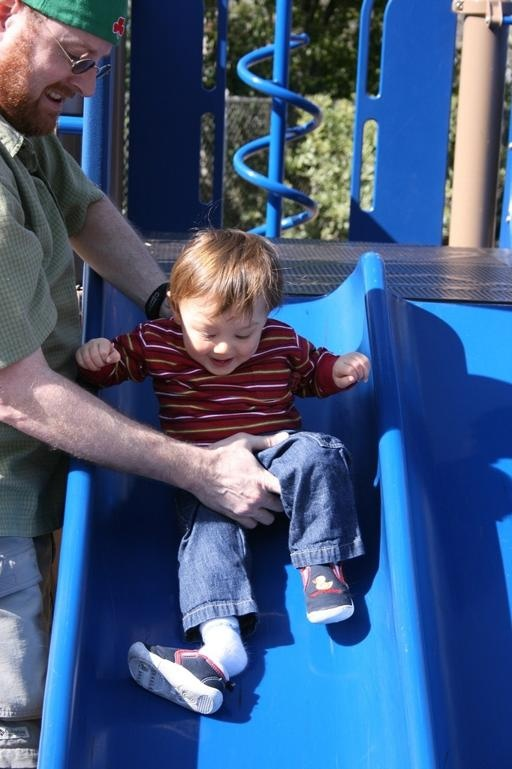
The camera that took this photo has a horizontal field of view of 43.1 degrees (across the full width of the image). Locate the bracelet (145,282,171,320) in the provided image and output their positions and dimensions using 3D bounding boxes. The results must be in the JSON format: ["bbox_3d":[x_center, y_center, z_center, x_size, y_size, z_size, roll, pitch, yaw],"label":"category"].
[{"bbox_3d":[-0.208,-0.171,1.350,0.025,0.086,0.058,17,25,-5],"label":"bracelet"}]

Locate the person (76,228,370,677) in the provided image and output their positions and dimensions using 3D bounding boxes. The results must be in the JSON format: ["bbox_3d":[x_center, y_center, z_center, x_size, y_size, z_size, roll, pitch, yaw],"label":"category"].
[{"bbox_3d":[-0.062,0.092,1.145,0.427,0.559,0.719,-7,36,-13],"label":"person"}]

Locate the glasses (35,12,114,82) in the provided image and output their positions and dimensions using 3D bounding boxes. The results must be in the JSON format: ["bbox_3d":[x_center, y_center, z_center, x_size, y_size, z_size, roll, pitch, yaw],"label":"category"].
[{"bbox_3d":[-0.265,-0.486,0.931,0.029,0.104,0.082,-24,-2,12],"label":"glasses"}]
